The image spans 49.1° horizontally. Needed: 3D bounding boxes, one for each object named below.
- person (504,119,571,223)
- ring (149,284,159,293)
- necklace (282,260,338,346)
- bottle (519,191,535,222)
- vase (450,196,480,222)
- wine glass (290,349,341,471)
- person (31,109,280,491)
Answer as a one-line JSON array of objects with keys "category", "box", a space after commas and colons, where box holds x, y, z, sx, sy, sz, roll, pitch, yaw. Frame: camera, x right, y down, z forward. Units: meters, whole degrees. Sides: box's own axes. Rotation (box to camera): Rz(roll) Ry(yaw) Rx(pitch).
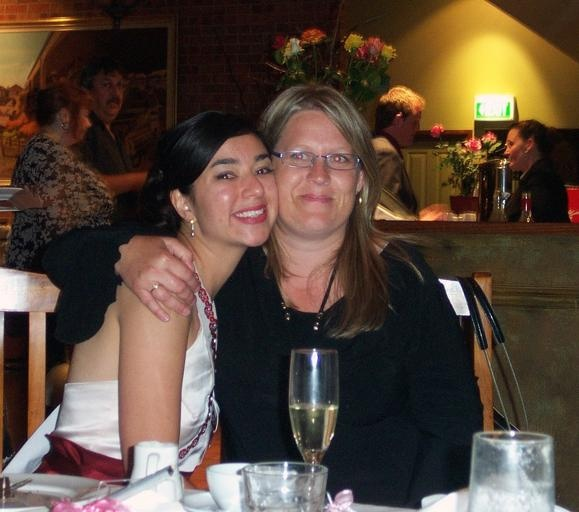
[{"category": "person", "box": [1.604, -0.592, 4.152, 0.346, 0.782, 1.601, 0, 1, 19]}, {"category": "ring", "box": [-0.280, 0.068, 1.319, 0.011, 0.016, 0.016, 8, 1, 4]}, {"category": "necklace", "box": [0.063, 0.110, 1.755, 0.090, 0.044, 0.185, -1, 36, 14]}, {"category": "bottle", "box": [1.109, -0.228, 2.964, 0.050, 0.142, 0.269, 0, 1, 20]}, {"category": "vase", "box": [0.853, -0.221, 3.097, 0.126, 0.105, 0.124, 2, 0, 30]}, {"category": "wine glass", "box": [0.043, 0.260, 1.084, 0.083, 0.197, 0.085, -1, 1, 1]}, {"category": "person", "box": [-0.356, 0.078, 1.535, 0.448, 0.904, 0.656, 0, 1, 22]}]
